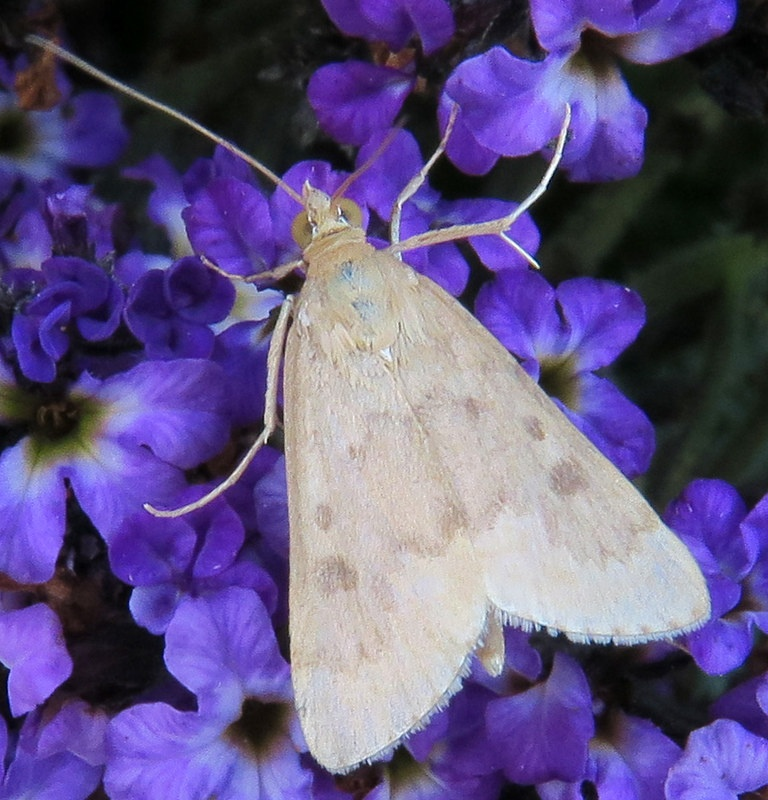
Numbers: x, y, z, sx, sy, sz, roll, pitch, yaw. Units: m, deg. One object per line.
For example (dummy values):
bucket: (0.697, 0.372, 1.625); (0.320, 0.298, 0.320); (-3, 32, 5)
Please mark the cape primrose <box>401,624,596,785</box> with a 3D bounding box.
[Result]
cape primrose: (0.109, 0.251, 0.845); (0.114, 0.064, 0.128); (28, 72, 14)
